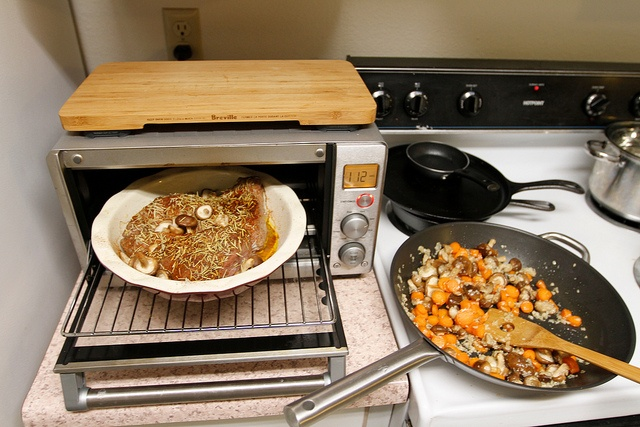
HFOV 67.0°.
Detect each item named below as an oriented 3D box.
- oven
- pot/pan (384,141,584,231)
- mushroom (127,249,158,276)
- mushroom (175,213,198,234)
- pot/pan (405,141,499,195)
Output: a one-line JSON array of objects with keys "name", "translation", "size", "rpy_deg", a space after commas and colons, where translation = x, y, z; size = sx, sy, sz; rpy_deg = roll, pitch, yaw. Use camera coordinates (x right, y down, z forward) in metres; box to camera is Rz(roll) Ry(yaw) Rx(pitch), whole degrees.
[{"name": "oven", "translation": [-0.246, 0.056, 1.294], "size": [0.910, 0.520, 0.626], "rpy_deg": [-9, 40, -9]}, {"name": "pot/pan", "translation": [0.473, -0.098, 1.510], "size": [0.507, 0.146, 0.319], "rpy_deg": [5, 35, -9]}, {"name": "mushroom", "translation": [-0.419, 0.119, 1.143], "size": [0.074, 0.024, 0.046], "rpy_deg": [25, 53, 19]}, {"name": "mushroom", "translation": [-0.339, 0.023, 1.217], "size": [0.047, 0.029, 0.047], "rpy_deg": [-23, 47, -38]}, {"name": "pot/pan", "translation": [0.410, -0.163, 1.532], "size": [0.156, 0.035, 0.266], "rpy_deg": [-21, 46, -37]}]
